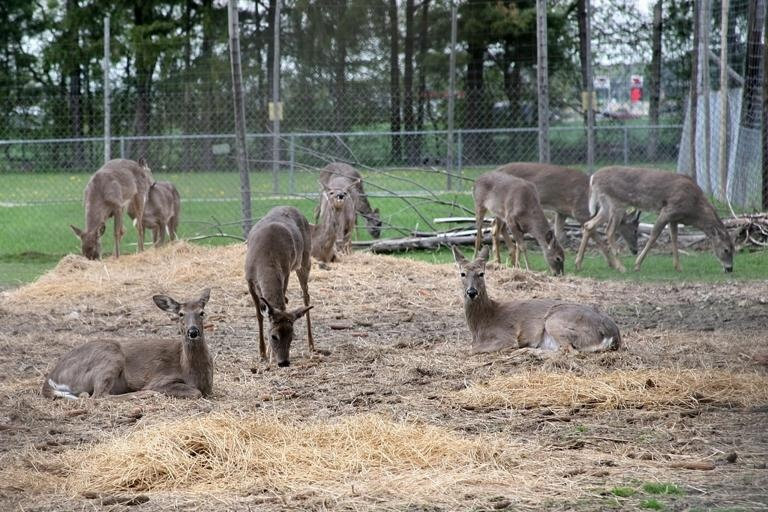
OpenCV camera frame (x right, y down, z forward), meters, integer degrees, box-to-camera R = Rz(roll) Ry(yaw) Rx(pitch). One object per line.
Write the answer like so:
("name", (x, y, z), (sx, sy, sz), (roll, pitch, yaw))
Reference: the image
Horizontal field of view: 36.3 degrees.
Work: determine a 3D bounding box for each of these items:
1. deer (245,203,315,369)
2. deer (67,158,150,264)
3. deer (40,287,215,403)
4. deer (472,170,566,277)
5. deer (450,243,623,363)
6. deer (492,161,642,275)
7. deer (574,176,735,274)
("deer", (-1.667, 0.467, 18.539), (1.061, 2.365, 1.661), (-1, 5, -4))
("deer", (-5.572, -0.988, 23.884), (0.894, 1.983, 2.022), (2, 5, 22))
("deer", (-3.794, 1.414, 17.314), (2.373, 1.535, 1.500), (1, -1, 0))
("deer", (2.551, -0.809, 22.658), (1.418, 2.282, 2.655), (3, 1, -3))
("deer", (2.309, 0.703, 18.137), (2.418, 1.595, 0.940), (0, 5, 6))
("deer", (2.984, -1.130, 23.680), (1.965, 2.788, 4.616), (3, -1, -26))
("deer", (5.219, -0.750, 22.584), (2.788, 1.954, 1.006), (1, 5, 18))
